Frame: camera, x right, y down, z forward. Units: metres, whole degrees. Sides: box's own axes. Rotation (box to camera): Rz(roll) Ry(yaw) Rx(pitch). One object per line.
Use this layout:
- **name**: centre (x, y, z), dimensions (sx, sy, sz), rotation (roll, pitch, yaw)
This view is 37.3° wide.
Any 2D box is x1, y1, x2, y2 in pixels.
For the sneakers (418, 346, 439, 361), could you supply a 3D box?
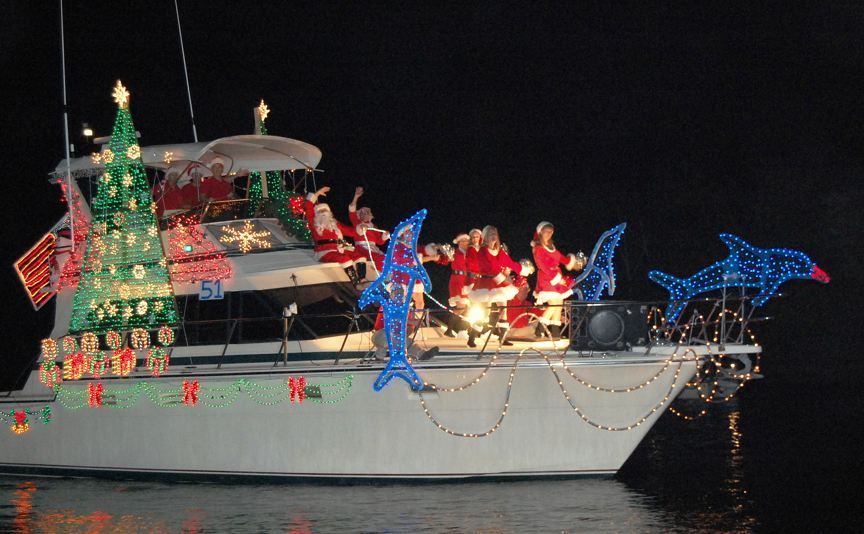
- **sneakers**: centre (0.012, 1.380, 20.537), dimensions (0.413, 0.128, 0.167), rotation (-19, 10, -15)

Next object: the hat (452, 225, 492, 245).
- **hat**: centre (0.745, -0.572, 23.241), dimensions (0.534, 0.128, 0.504), rotation (-4, -8, 0)

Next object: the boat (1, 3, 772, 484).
- **boat**: centre (-2.999, 0.900, 25.698), dimensions (18.168, 9.534, 5.532), rotation (-1, -1, 9)
